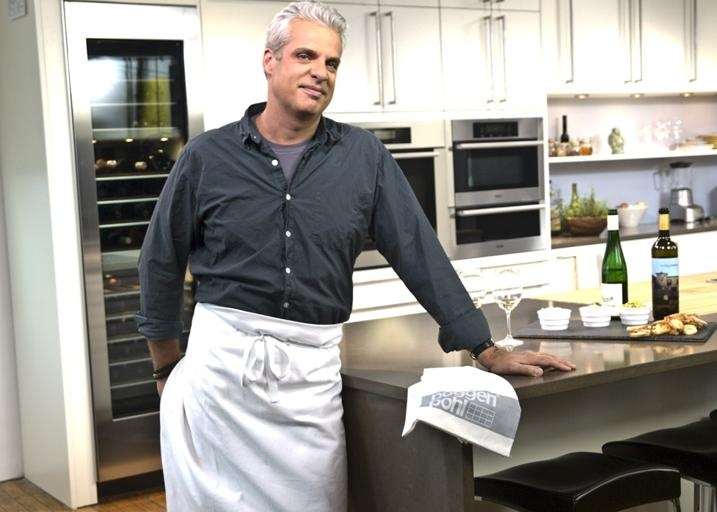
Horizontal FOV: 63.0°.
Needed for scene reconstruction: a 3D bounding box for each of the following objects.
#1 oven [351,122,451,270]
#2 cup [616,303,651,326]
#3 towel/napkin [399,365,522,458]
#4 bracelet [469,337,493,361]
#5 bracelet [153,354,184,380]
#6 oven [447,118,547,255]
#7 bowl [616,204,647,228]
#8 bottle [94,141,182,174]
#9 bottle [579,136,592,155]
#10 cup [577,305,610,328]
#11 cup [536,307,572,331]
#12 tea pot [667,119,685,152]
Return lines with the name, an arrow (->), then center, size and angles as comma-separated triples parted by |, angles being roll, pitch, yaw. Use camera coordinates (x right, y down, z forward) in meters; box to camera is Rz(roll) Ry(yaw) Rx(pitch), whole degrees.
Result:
oven -> 0.247, -0.366, 4.176 | 0.762, 1.003, 0.742 | -4, -4, -7
cup -> 0.935, 0.190, 1.981 | 0.079, 0.043, 0.079 | -1, 7, 0
towel/napkin -> 0.253, 0.375, 1.439 | 0.235, 0.232, 0.069 | 14, -31, 9
bracelet -> 0.340, 0.258, 1.617 | 0.046, 0.030, 0.045 | -35, -14, -25
bracelet -> -0.605, 0.363, 1.860 | 0.073, 0.028, 0.066 | -30, -1, 17
oven -> 0.969, -0.546, 4.528 | 0.902, 1.014, 0.881 | -9, 14, -28
bowl -> 2.268, -0.333, 4.871 | 0.319, 0.200, 0.321 | -2, 0, 0
bottle -> -1.270, -0.567, 3.347 | 0.620, 0.179, 0.219 | -4, -3, -19
bottle -> 1.888, -0.915, 4.854 | 0.132, 0.139, 0.132 | 1, 1, -6
cup -> 0.810, 0.204, 2.028 | 0.079, 0.046, 0.079 | -5, 6, 1
cup -> 0.687, 0.214, 2.035 | 0.082, 0.053, 0.083 | 0, 3, 0
tea pot -> 3.037, -1.174, 5.608 | 0.113, 0.368, 0.154 | 8, 6, 3
